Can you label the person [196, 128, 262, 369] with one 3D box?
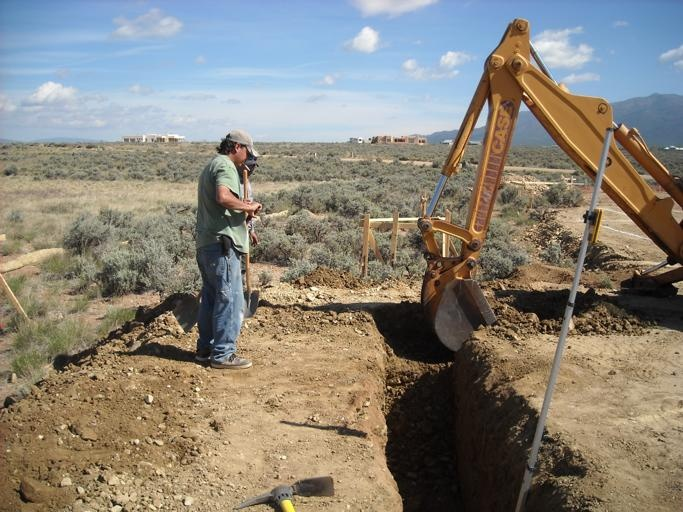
[{"bbox_3d":[-1.531,0.142,6.267,0.841,2.738,0.659,-3,21,-11],"label":"person"}]
